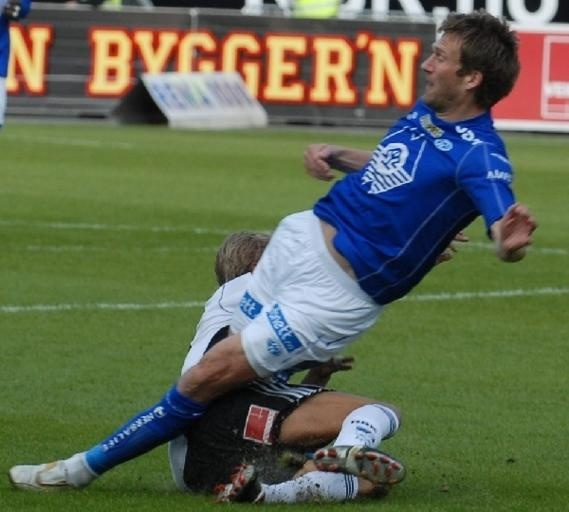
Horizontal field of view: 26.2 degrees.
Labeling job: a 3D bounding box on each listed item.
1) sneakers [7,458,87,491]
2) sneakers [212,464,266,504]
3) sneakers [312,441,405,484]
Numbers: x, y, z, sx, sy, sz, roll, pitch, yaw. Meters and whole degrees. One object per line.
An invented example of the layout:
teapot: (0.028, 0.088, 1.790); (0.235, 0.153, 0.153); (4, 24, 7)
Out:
sneakers: (-1.164, 1.091, 6.052); (0.395, 0.120, 0.143); (2, 24, -11)
sneakers: (-0.218, 1.087, 5.828); (0.236, 0.222, 0.216); (1, 15, -4)
sneakers: (0.337, 0.940, 5.694); (0.472, 0.151, 0.192); (13, -3, 4)
